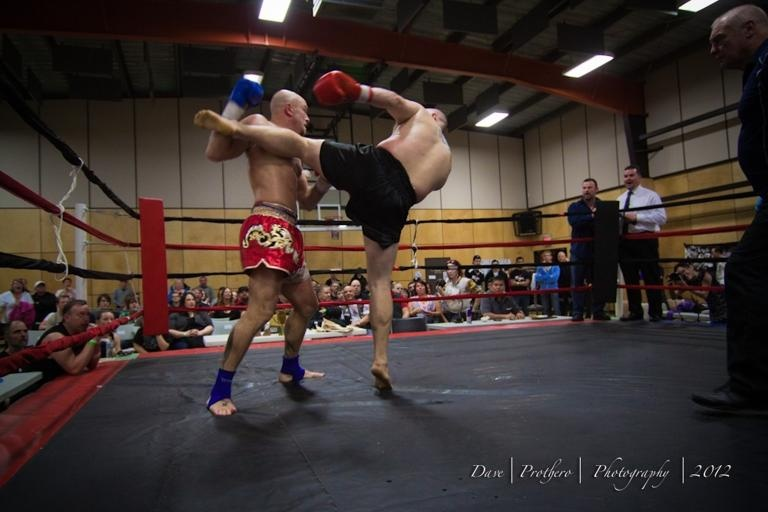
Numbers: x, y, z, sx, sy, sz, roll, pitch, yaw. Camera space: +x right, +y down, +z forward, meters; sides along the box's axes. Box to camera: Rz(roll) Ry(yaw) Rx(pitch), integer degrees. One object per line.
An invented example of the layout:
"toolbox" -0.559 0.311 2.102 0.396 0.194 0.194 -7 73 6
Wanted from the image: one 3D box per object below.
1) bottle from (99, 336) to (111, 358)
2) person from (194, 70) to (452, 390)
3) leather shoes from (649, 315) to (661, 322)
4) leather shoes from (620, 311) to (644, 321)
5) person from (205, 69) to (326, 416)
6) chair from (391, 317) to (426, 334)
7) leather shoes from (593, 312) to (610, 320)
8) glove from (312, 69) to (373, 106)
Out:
"bottle" -2.427 0.786 4.448 0.076 0.177 0.209 -4 6 -29
"person" -0.002 -0.411 3.038 1.020 1.437 2.100 21 25 32
"leather shoes" 2.593 0.601 4.907 0.051 0.060 0.142 -2 -7 41
"leather shoes" 2.445 0.583 4.996 0.263 0.113 0.092 2 -6 -2
"person" -0.666 -0.115 2.873 0.414 1.741 0.875 1 6 32
"chair" 0.254 0.684 5.059 0.179 0.245 0.205 4 -12 -21
"leather shoes" 2.133 0.583 5.026 0.079 0.065 0.151 4 -8 -37
"glove" -0.249 -0.883 2.771 0.251 0.190 0.117 -2 -17 -11
